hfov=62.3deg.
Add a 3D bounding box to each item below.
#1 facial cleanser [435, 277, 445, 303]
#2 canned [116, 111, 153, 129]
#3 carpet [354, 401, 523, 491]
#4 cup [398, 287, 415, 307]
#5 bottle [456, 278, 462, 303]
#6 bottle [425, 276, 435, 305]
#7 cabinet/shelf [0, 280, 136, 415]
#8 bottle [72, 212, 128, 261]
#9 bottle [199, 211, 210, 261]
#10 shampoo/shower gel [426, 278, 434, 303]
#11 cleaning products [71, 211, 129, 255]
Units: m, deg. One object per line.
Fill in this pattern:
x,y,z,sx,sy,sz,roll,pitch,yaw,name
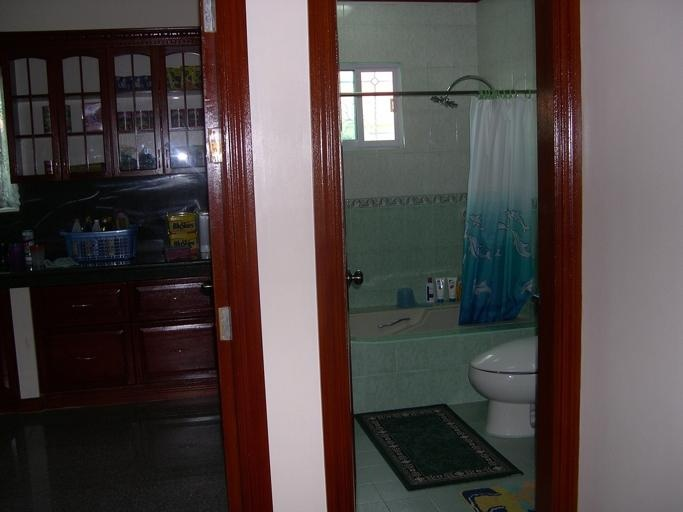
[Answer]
0.818,0.280,4.657,0.086,0.190,0.056,-3,10,-1,facial cleanser
-1.632,-1.067,4.471,0.264,0.154,0.088,-8,11,-22,canned
0.533,1.114,3.382,0.654,0.028,0.972,-7,12,-17,carpet
0.529,0.338,4.700,0.148,0.149,0.128,-3,8,-9,cup
0.969,0.277,4.673,0.042,0.184,0.123,-2,10,7,bottle
0.736,0.279,4.659,0.079,0.203,0.059,7,14,44,bottle
-1.922,0.588,4.389,1.111,1.149,0.805,-2,4,-14,cabinet/shelf
-1.891,-0.151,4.472,0.352,0.265,0.371,0,3,0,bottle
-1.080,-0.169,4.421,0.083,0.323,0.182,-5,10,-14,bottle
0.733,0.292,4.654,0.085,0.176,0.039,-2,1,4,shampoo/shower gel
-1.907,-0.160,4.488,0.350,0.259,0.364,-1,3,-22,cleaning products
